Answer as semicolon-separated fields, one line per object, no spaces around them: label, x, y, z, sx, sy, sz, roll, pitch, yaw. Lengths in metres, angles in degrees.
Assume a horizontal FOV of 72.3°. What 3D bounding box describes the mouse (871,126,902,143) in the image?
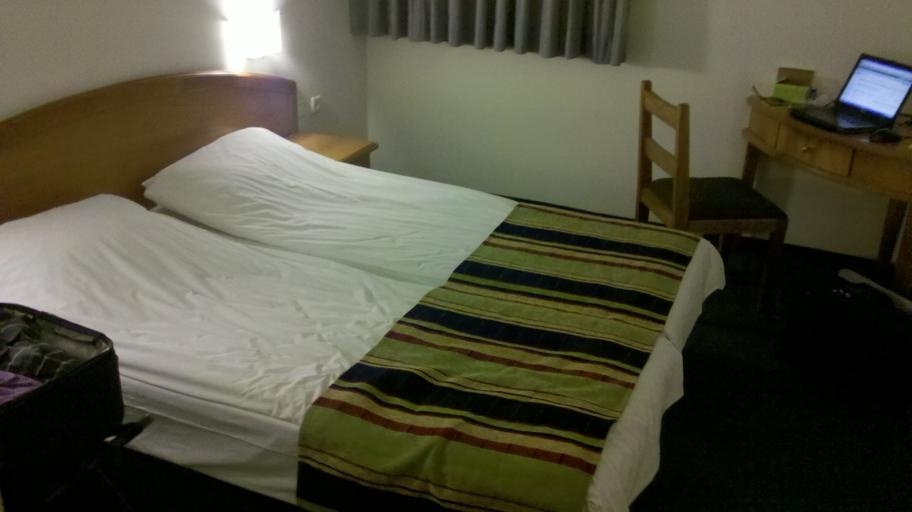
mouse;2.440;-0.673;3.529;0.182;0.051;0.131;-24;36;-32

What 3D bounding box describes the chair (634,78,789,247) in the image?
chair;1.684;-0.621;4.032;0.690;1.107;0.624;-12;39;3
